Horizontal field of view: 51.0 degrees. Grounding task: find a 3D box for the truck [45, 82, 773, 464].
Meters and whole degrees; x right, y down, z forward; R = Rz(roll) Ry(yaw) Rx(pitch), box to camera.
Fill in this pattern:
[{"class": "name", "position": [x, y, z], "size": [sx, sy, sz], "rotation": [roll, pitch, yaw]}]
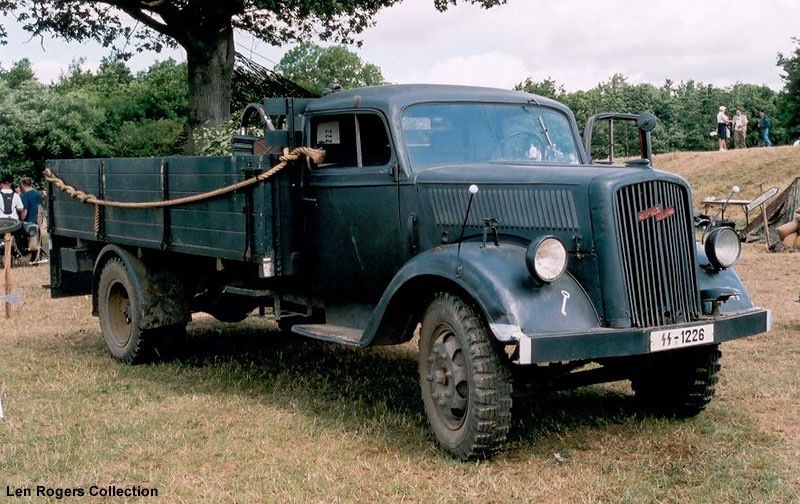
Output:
[{"class": "truck", "position": [-0.771, -0.258, 10.084], "size": [7.913, 3.117, 3.911], "rotation": [5, 7, 44]}]
